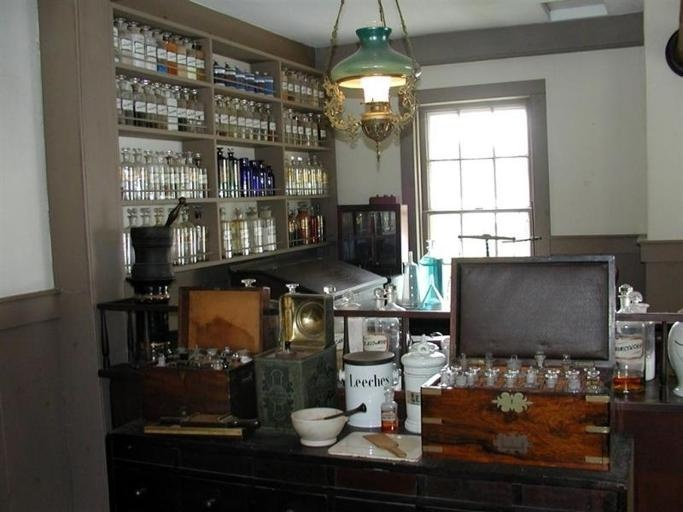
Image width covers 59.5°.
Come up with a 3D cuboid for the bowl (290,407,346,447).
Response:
[{"bbox_3d":[-0.097,0.641,2.283,0.139,0.071,0.173,-6,-9,40],"label":"bowl"}]

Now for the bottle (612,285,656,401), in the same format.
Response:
[{"bbox_3d":[1.192,0.335,2.451,0.149,0.421,0.330,-1,2,28],"label":"bottle"}]

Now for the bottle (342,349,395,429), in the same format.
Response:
[{"bbox_3d":[0.118,0.548,2.502,0.257,0.288,0.267,0,2,12],"label":"bottle"}]

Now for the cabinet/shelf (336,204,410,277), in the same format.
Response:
[{"bbox_3d":[0.358,-0.151,5.843,0.741,0.700,0.419,-1,1,29],"label":"cabinet/shelf"}]

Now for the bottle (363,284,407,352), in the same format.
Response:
[{"bbox_3d":[0.215,0.309,2.962,0.246,0.438,0.242,0,-4,0],"label":"bottle"}]

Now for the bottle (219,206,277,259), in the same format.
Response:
[{"bbox_3d":[-0.764,-0.177,4.727,0.162,0.292,0.438,-4,0,24],"label":"bottle"}]
